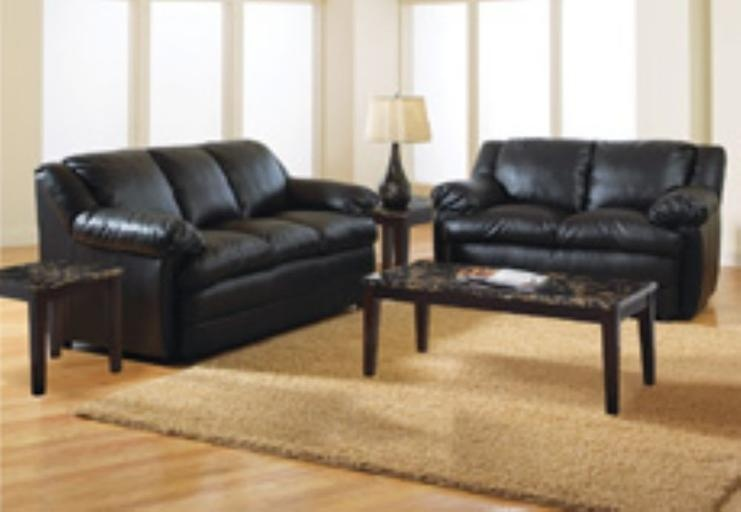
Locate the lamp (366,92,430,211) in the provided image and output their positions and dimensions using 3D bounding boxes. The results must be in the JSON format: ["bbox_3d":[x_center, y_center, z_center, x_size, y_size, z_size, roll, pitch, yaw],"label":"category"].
[{"bbox_3d":[0.197,-0.737,4.885,0.436,0.831,0.347,-4,11,-27],"label":"lamp"}]

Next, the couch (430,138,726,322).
[{"bbox_3d":[1.533,-0.312,5.079,1.891,1.092,1.054,6,15,29],"label":"couch"}]
